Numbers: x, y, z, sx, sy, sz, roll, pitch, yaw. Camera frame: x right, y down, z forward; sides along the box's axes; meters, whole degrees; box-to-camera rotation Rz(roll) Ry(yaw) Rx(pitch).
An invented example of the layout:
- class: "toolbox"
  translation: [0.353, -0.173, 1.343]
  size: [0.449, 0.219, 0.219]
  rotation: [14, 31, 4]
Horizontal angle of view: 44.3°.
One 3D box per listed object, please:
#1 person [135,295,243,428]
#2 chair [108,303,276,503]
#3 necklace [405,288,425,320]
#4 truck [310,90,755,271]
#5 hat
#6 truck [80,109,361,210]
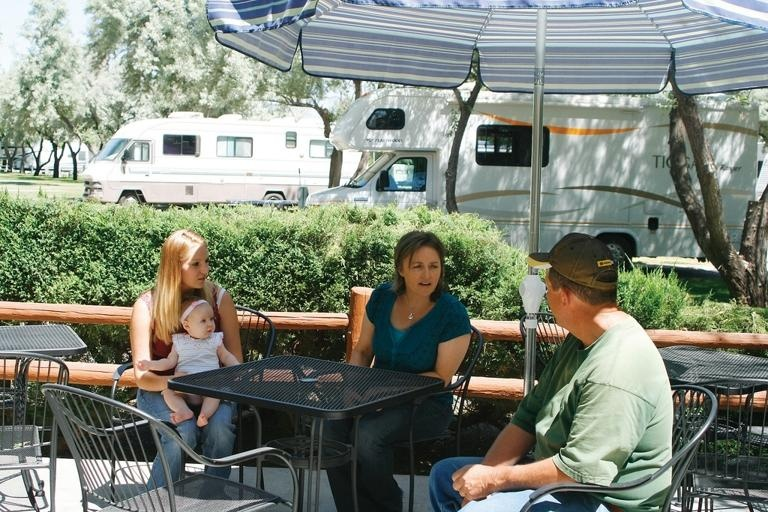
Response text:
- class: "person"
  translation: [-1.396, 0.765, 7.082]
  size: [0.644, 0.932, 0.688]
  rotation: [2, -2, 17]
- class: "chair"
  translation: [-1.481, 1.056, 7.181]
  size: [0.741, 1.508, 0.773]
  rotation: [0, 13, -25]
- class: "necklace"
  translation: [0.253, 0.388, 7.381]
  size: [0.152, 0.252, 0.203]
  rotation: [1, -13, 1]
- class: "truck"
  translation: [2.860, -1.638, 17.981]
  size: [9.161, 4.696, 3.141]
  rotation: [2, 4, -2]
- class: "hat"
  translation: [1.276, 0.013, 6.394]
  size: [0.537, 0.347, 0.392]
  rotation: [17, 8, 39]
- class: "truck"
  translation: [-3.913, -2.566, 23.045]
  size: [6.420, 2.601, 1.941]
  rotation: [-1, 22, -25]
